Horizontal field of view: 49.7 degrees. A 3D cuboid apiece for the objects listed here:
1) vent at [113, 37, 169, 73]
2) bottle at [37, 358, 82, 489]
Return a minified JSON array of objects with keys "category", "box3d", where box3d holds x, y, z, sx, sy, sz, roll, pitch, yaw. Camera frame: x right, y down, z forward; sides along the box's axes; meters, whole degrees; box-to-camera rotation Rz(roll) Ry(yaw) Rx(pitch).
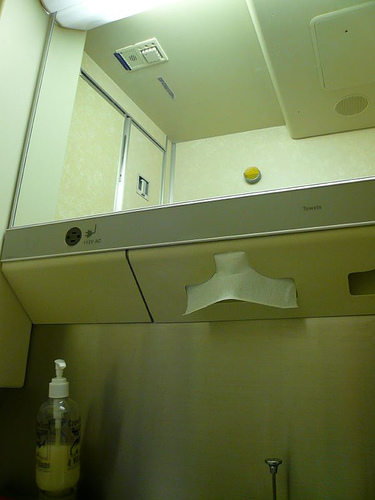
[{"category":"vent","box3d":[-0.155,-0.653,1.356,0.168,0.050,0.074,-3,-14,22]},{"category":"bottle","box3d":[-0.290,0.402,0.943,0.112,0.284,0.218,7,-14,-19]}]
